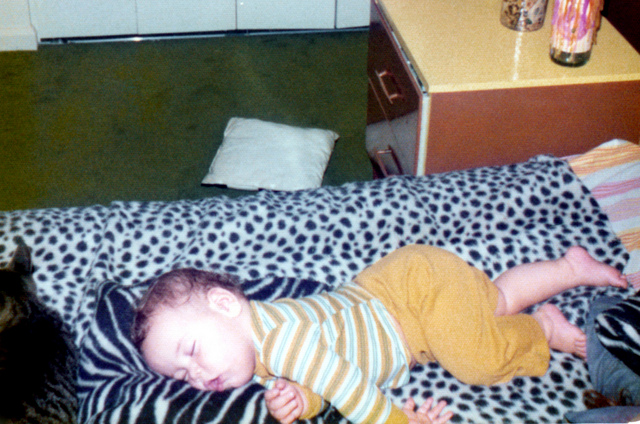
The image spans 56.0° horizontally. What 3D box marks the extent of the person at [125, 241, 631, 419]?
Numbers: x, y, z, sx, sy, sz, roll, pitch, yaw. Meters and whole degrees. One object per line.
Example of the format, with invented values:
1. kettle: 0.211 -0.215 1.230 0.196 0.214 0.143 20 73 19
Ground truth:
1. person: 0.113 0.420 2.059 1.537 0.329 0.578 -8 44 -5

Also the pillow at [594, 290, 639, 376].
1. pillow: 1.000 0.370 1.991 0.156 0.117 0.270 17 47 20
